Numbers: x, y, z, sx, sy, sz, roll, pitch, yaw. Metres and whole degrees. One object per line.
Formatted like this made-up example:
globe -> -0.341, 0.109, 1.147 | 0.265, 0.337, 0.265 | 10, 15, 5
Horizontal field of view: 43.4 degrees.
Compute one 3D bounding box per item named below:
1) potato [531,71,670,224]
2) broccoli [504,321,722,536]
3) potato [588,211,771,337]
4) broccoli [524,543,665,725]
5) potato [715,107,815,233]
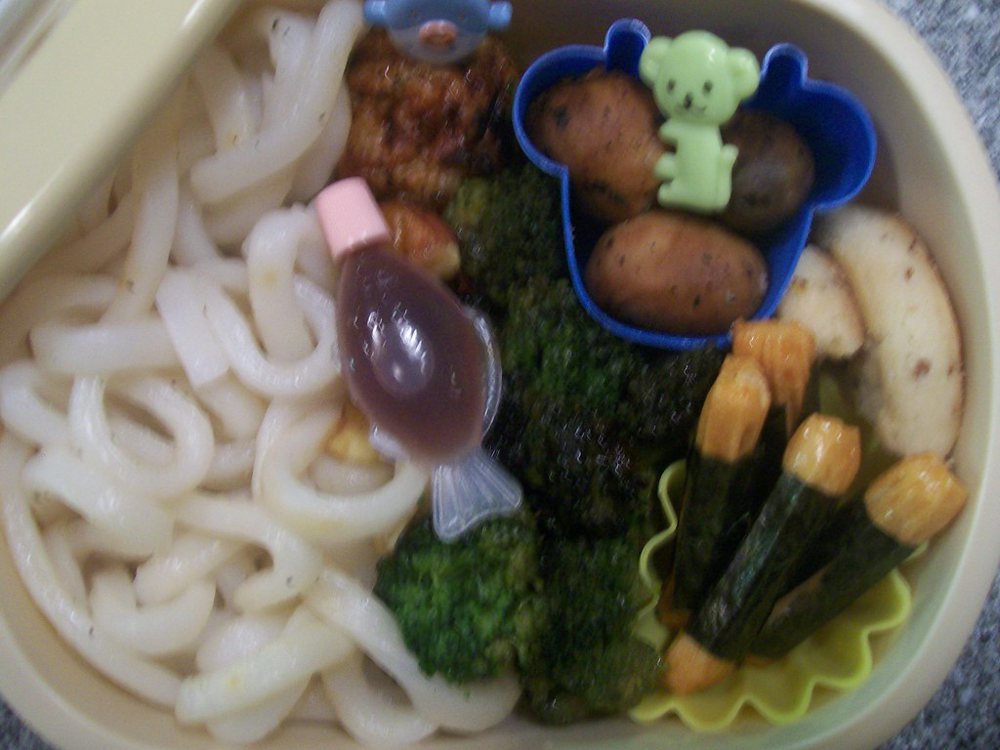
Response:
potato -> 0.127, -0.287, 1.561 | 0.129, 0.099, 0.194 | -26, 93, 26
broccoli -> 0.117, 0.062, 1.583 | 0.220, 0.080, 0.273 | 19, 82, -4
potato -> 0.216, -0.136, 1.516 | 0.178, 0.116, 0.146 | 9, 106, 3
broccoli -> 0.108, 0.320, 1.487 | 0.135, 0.055, 0.230 | 17, 89, -5
potato -> 0.340, -0.271, 1.558 | 0.120, 0.137, 0.083 | -29, 90, -8
